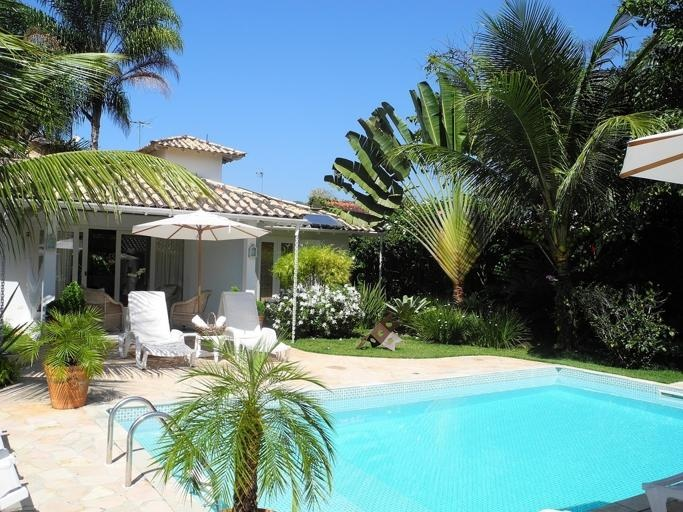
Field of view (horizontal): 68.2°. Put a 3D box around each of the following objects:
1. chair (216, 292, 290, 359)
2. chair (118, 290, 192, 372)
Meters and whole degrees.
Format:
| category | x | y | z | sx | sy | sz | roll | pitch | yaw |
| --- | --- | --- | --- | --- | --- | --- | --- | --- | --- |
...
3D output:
| category | x | y | z | sx | sy | sz | roll | pitch | yaw |
| --- | --- | --- | --- | --- | --- | --- | --- | --- | --- |
| chair | -1.884 | 1.530 | 10.712 | 1.234 | 1.668 | 2.224 | 2 | 0 | -36 |
| chair | -3.625 | 1.478 | 10.016 | 1.002 | 1.234 | 1.700 | 1 | 5 | -42 |
